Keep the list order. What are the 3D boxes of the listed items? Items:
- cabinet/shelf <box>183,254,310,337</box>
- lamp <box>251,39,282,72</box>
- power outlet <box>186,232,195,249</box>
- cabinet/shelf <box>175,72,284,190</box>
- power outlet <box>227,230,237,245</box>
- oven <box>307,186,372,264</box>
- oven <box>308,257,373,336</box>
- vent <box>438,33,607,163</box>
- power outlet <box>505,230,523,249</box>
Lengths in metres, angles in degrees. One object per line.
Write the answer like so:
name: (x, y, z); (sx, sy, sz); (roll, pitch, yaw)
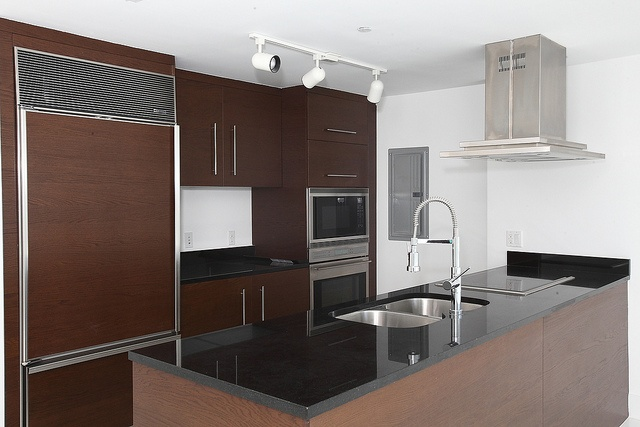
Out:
cabinet/shelf: (-0.713, 0.755, 4.052); (0.720, 0.338, 1.276); (0, 2, 44)
lamp: (-0.387, -1.120, 3.233); (0.177, 0.236, 0.273); (-1, 6, -7)
power outlet: (-1.271, 0.266, 4.407); (0.007, 0.164, 0.096); (6, 9, 44)
cabinet/shelf: (-1.053, -0.740, 4.350); (0.552, 0.960, 1.351); (-4, 5, 30)
power outlet: (-0.918, 0.254, 4.716); (0.022, 0.166, 0.098); (4, 8, 37)
oven: (0.071, 0.104, 4.917); (0.415, 0.775, 1.067); (1, 2, 40)
oven: (0.055, 0.840, 4.941); (0.584, 0.670, 1.105); (1, 2, 40)
vent: (1.553, -0.857, 3.409); (0.684, 0.885, 0.958); (5, 8, 40)
power outlet: (1.796, 0.236, 4.172); (0.210, 0.200, 0.043); (0, 1, 42)
